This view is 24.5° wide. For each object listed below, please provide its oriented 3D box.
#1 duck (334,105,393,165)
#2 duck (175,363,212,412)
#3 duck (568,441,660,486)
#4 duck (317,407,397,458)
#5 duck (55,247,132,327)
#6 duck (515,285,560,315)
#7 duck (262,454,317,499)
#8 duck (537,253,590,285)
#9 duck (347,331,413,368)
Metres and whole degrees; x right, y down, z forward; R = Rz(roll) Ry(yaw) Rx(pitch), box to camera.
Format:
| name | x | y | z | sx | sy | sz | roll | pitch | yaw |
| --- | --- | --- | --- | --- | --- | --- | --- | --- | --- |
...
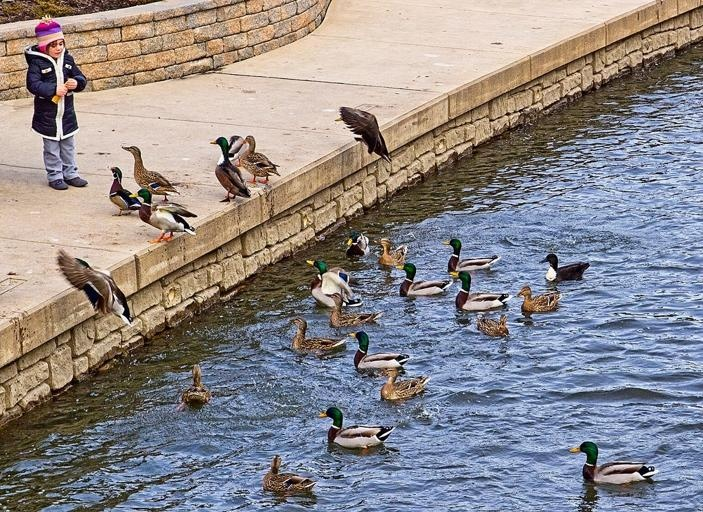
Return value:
| name | x | y | z | sx | sy | sz | roll | pitch | yaw |
| --- | --- | --- | --- | --- | --- | --- | --- | --- | --- |
| duck | 0.254 | -2.097 | 27.135 | 0.337 | 1.037 | 0.841 | -29 | 28 | 26 |
| duck | -2.268 | 1.769 | 22.974 | 0.487 | 0.642 | 0.584 | -7 | 25 | -4 |
| duck | 3.503 | 2.715 | 21.566 | 1.088 | 0.541 | 0.432 | -1 | 26 | 7 |
| duck | 0.043 | 2.422 | 22.140 | 1.225 | 0.584 | 0.435 | 1 | -6 | 9 |
| duck | -3.424 | 0.429 | 22.696 | 0.613 | 1.369 | 0.709 | -46 | 25 | -12 |
| duck | 2.896 | 0.686 | 25.154 | 0.749 | 0.400 | 0.354 | -6 | 0 | -7 |
| duck | -0.867 | 2.998 | 21.680 | 0.842 | 0.446 | 0.423 | 1 | -7 | 22 |
| duck | 3.437 | 0.241 | 26.063 | 0.851 | 0.464 | 0.372 | -2 | -13 | 7 |
| duck | 0.382 | 1.389 | 23.669 | 0.893 | 0.487 | 0.487 | 11 | 29 | 31 |
